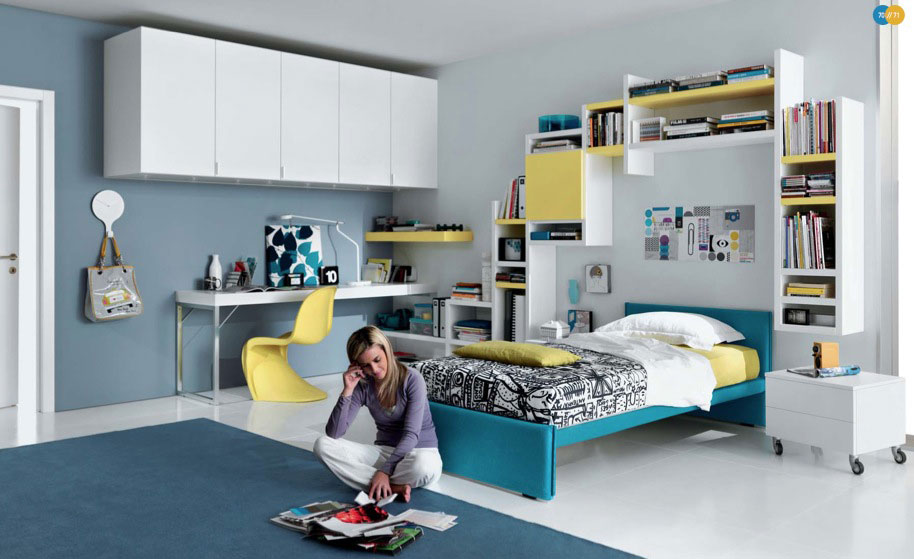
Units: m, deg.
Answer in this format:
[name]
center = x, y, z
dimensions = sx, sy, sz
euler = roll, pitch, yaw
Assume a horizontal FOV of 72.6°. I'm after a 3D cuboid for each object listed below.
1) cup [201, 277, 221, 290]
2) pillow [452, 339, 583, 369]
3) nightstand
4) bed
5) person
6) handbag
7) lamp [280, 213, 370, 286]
[cup]
center = -2.562, 0.046, 6.460
dimensions = 0.171, 0.106, 0.124
euler = 0, 0, 1
[pillow]
center = 0.440, 0.577, 4.816
dimensions = 0.576, 0.106, 0.337
euler = 0, 0, 40
[nightstand]
center = 2.949, 0.973, 4.863
dimensions = 0.784, 0.664, 0.951
euler = 2, -4, -30
[bed]
center = 1.300, 0.788, 4.911
dimensions = 1.353, 0.907, 2.480
euler = 4, 5, 44
[person]
center = -0.503, 0.877, 4.064
dimensions = 0.890, 0.967, 0.784
euler = -4, -8, 11
[handbag]
center = -3.357, -0.024, 6.017
dimensions = 0.471, 0.801, 0.181
euler = -1, 10, -28
[lamp]
center = -1.554, -0.362, 7.233
dimensions = 1.026, 0.766, 0.188
euler = -3, 11, -37
